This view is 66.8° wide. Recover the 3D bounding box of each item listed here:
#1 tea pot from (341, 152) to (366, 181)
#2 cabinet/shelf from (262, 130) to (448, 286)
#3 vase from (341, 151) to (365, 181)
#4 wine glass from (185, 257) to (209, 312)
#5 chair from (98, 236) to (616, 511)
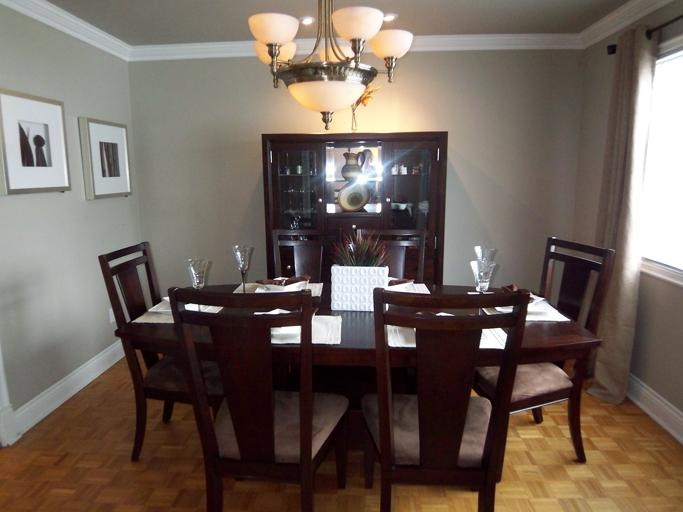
[{"bbox_3d":[0.092,-0.748,4.244,0.209,0.240,0.159,-1,9,-19],"label":"tea pot"},{"bbox_3d":[0.116,-0.396,4.015,1.131,1.220,0.400,0,1,-3],"label":"cabinet/shelf"},{"bbox_3d":[0.057,-0.743,4.238,0.206,0.237,0.156,-2,8,-22],"label":"vase"},{"bbox_3d":[-0.795,0.094,2.874,0.117,0.183,0.161,-4,13,-18],"label":"wine glass"},{"bbox_3d":[0.075,0.554,3.194,2.850,1.249,1.254,1,12,6],"label":"chair"}]
